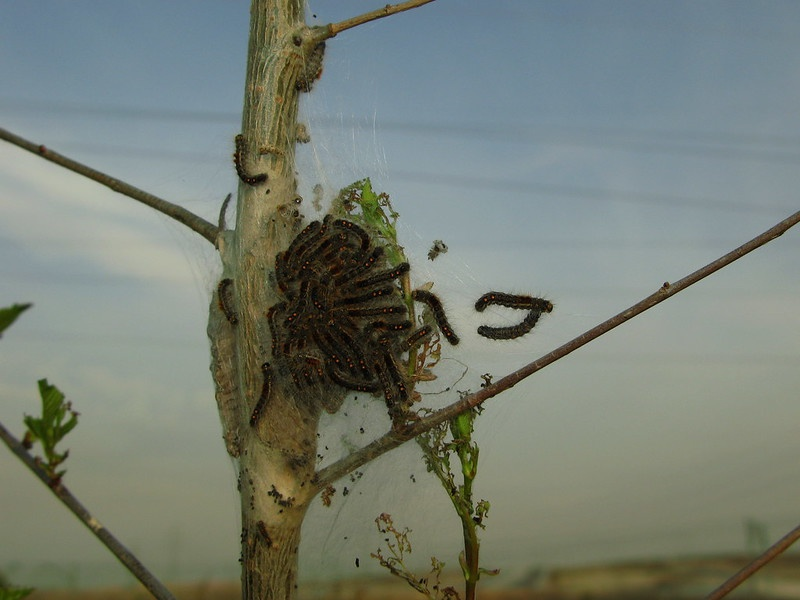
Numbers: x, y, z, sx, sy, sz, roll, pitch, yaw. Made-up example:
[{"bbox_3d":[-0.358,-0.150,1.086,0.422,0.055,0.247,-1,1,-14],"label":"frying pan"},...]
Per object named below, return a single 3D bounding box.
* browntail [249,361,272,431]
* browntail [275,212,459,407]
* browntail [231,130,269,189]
[{"bbox_3d":[-0.650,0.450,6.598,0.066,0.343,0.084,15,4,20],"label":"browntail"},{"bbox_3d":[-0.267,0.115,6.783,0.711,0.884,0.268,-22,-7,-5],"label":"browntail"},{"bbox_3d":[-0.747,-0.637,6.737,0.236,0.126,0.398,30,-4,1],"label":"browntail"}]
